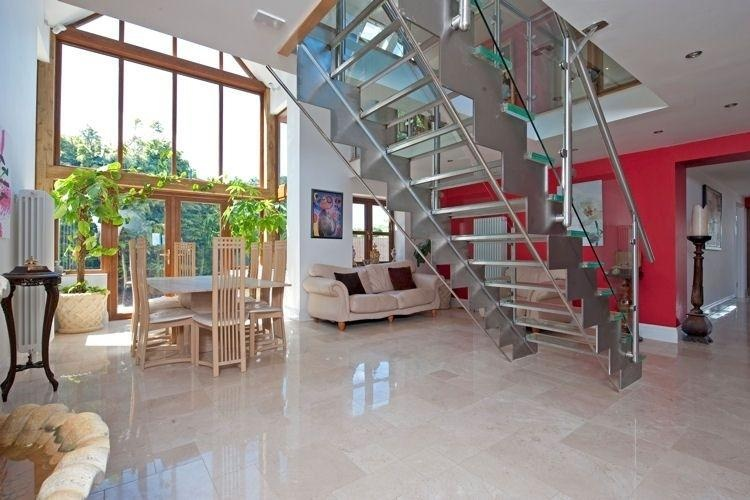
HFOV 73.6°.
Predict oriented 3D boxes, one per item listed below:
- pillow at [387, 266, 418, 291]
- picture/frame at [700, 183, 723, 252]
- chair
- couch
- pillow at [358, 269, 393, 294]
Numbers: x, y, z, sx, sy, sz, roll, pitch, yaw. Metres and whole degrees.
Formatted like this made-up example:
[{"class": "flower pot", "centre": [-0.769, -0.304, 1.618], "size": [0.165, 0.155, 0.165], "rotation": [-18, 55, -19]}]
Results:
[{"class": "pillow", "centre": [0.507, 0.535, 9.474], "size": [0.478, 0.437, 0.144], "rotation": [-6, -19, -29]}, {"class": "picture/frame", "centre": [6.384, -0.559, 9.412], "size": [0.025, 1.086, 1.096], "rotation": [-1, 6, 24]}, {"class": "chair", "centre": [-2.159, 0.789, 6.702], "size": [1.704, 1.338, 2.293], "rotation": [-2, 4, -33]}, {"class": "couch", "centre": [-0.036, 0.758, 8.916], "size": [2.233, 1.032, 1.026], "rotation": [-3, 7, -33]}, {"class": "pillow", "centre": [0.040, 0.569, 9.307], "size": [0.518, 0.476, 0.151], "rotation": [-7, -22, -36]}]
